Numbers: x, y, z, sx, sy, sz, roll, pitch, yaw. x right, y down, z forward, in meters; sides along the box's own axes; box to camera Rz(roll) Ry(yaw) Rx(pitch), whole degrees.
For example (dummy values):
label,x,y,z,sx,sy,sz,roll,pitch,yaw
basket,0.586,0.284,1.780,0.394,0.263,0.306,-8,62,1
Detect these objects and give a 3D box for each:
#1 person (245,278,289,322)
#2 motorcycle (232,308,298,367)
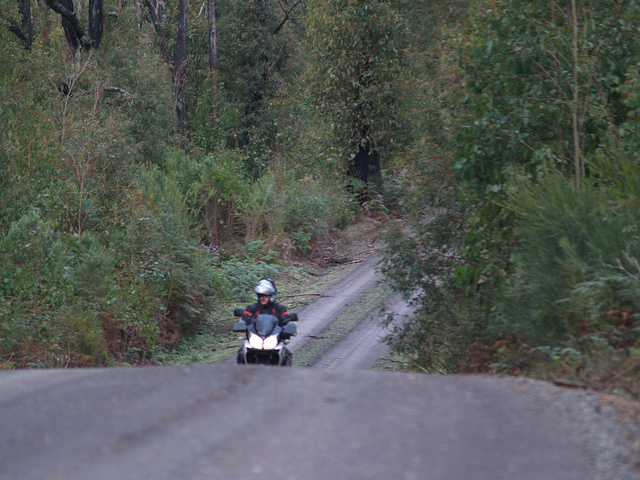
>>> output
label,x,y,z,sx,sy,sz,roll,pitch,yaw
person,-0.956,1.119,12.432,0.849,0.905,0.615,-1,-8,6
motorcycle,-0.938,1.723,11.737,1.040,0.949,1.124,-1,10,-4
